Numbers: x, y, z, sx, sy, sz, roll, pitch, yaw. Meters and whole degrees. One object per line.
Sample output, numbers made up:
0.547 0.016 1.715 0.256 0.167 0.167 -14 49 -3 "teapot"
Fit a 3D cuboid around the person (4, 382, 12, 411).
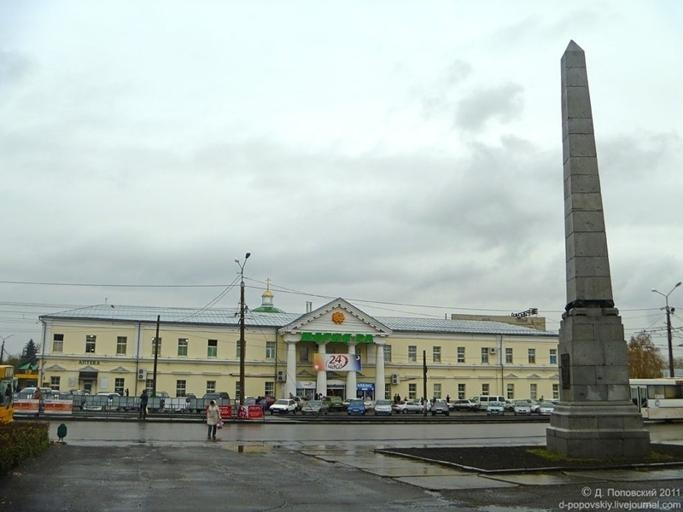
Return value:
-16.627 6.890 39.306 0.249 0.899 0.592 5 -1 8 "person"
